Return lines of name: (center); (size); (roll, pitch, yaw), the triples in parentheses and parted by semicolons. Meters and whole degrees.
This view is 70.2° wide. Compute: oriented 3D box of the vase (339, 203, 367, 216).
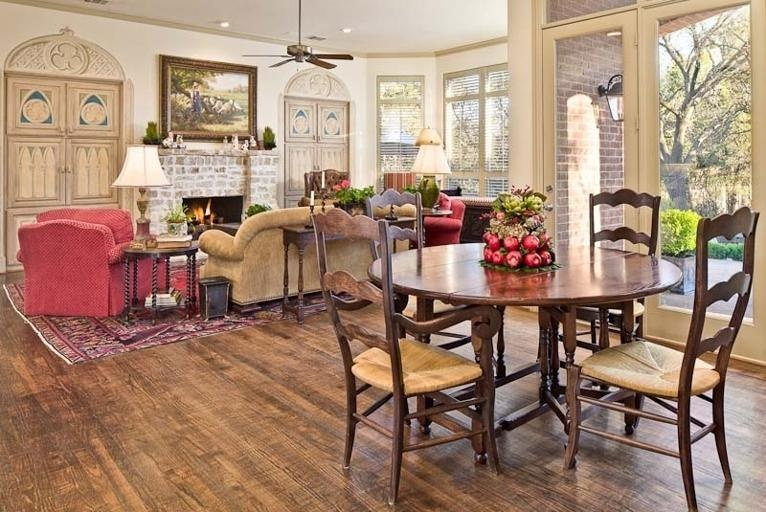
vase: (-0.310, -0.501, 5.832); (0.246, 0.145, 0.238); (-1, 3, -13)

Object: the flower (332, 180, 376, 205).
flower: (-0.323, -0.698, 5.940); (0.427, 0.249, 0.610); (-5, 12, -5)

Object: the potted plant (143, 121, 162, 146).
potted plant: (-3.677, -1.965, 8.646); (0.264, 0.374, 0.479); (-9, 14, -21)

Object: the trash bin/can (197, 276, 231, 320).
trash bin/can: (-1.772, 0.406, 5.639); (0.407, 0.478, 0.362); (-4, 11, -39)

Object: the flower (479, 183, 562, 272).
flower: (0.819, -0.150, 3.597); (0.517, 0.546, 0.563); (3, -1, -16)

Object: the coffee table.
coffee table: (-2.329, 0.265, 5.652); (0.861, 0.838, 0.806); (0, -1, -23)

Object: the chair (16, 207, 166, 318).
chair: (-3.074, 0.121, 5.989); (1.398, 1.237, 1.336); (1, 3, -5)

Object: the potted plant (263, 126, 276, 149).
potted plant: (-2.093, -2.169, 9.964); (0.234, 0.422, 0.339); (-6, 13, -11)

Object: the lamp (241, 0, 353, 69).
lamp: (-1.487, -3.697, 8.976); (1.479, 1.363, 1.338); (-1, 10, -10)

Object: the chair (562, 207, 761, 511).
chair: (1.582, 0.479, 3.081); (0.783, 1.504, 1.037); (9, 19, 44)
